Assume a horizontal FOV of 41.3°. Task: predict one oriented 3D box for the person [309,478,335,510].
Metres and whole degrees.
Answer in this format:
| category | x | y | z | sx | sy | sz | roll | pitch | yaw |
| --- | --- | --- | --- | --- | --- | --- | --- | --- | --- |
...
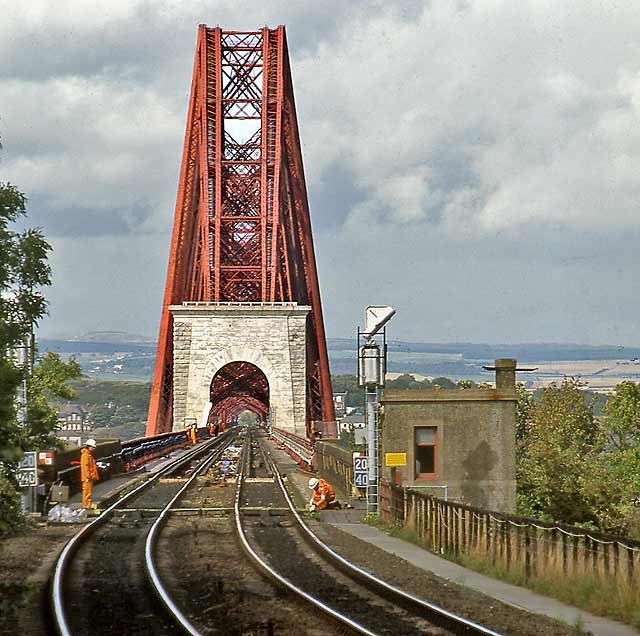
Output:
| category | x | y | z | sx | sy | sz | roll | pitch | yaw |
| --- | --- | --- | --- | --- | --- | --- | --- | --- | --- |
| person | 0.045 | 4.455 | 17.031 | 0.526 | 0.778 | 1.279 | -1 | -4 | 1 |
